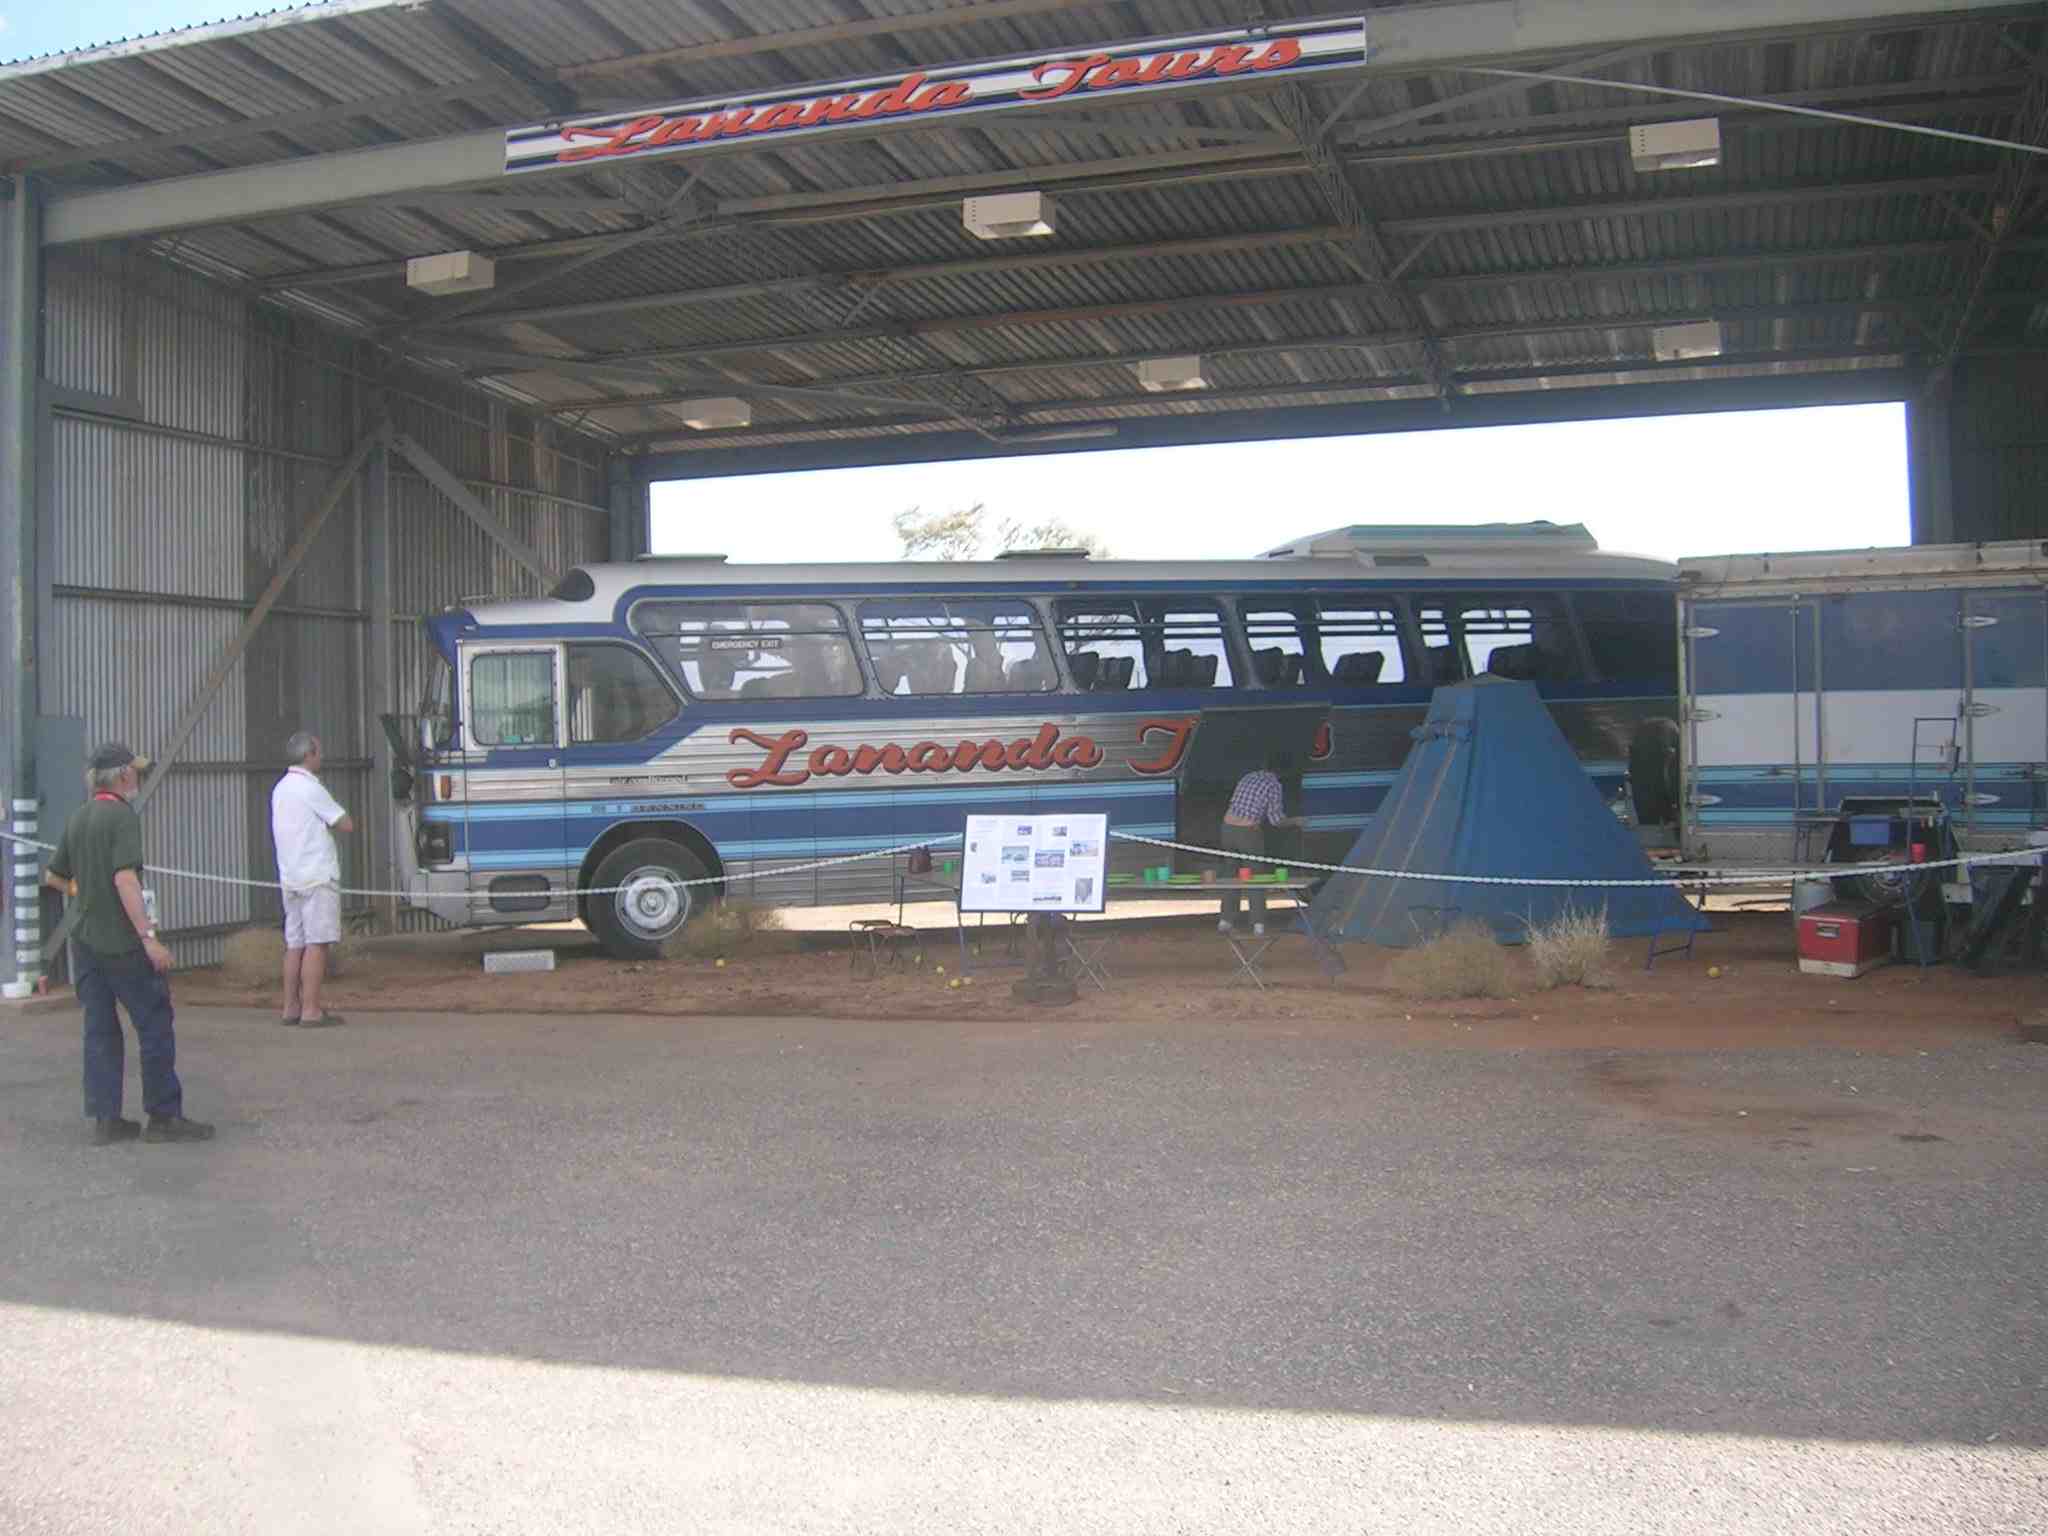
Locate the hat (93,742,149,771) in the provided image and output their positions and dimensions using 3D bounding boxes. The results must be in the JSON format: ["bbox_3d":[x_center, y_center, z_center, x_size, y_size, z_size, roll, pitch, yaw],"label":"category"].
[{"bbox_3d":[-6.813,-0.097,15.095,0.235,0.166,0.333,10,15,42],"label":"hat"}]

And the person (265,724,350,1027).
[{"bbox_3d":[-5.784,0.915,16.229,0.562,2.417,0.954,-4,8,-20],"label":"person"}]

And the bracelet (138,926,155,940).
[{"bbox_3d":[-5.346,1.003,12.190,0.091,0.020,0.089,17,-36,-29],"label":"bracelet"}]

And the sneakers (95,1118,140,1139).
[{"bbox_3d":[-5.518,2.190,12.195,0.258,0.134,0.178,-3,7,-17],"label":"sneakers"}]

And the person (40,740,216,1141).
[{"bbox_3d":[-5.544,1.070,12.340,0.596,2.326,1.069,-7,9,-38],"label":"person"}]

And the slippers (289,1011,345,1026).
[{"bbox_3d":[-5.745,2.045,16.278,0.454,0.166,0.161,0,1,1],"label":"slippers"}]

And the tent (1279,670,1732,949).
[{"bbox_3d":[4.772,0.368,19.685,3.007,1.897,2.915,0,-5,9],"label":"tent"}]
